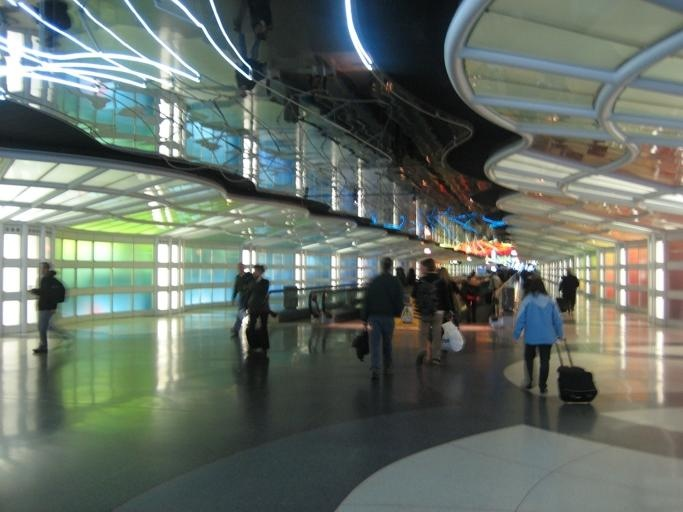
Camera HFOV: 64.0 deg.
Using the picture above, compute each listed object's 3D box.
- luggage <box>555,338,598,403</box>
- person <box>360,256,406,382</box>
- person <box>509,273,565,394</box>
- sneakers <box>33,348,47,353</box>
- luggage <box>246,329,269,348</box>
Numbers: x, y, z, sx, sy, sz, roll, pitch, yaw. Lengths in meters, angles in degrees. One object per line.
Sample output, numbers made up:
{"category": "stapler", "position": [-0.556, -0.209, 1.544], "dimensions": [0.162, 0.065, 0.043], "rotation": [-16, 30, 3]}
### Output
{"category": "luggage", "position": [3.706, 1.709, 8.802], "dimensions": [0.536, 1.223, 0.465], "rotation": [-6, -39, 15]}
{"category": "person", "position": [0.832, 1.154, 10.645], "dimensions": [0.768, 2.259, 1.189], "rotation": [-1, -3, 3]}
{"category": "person", "position": [3.366, 1.303, 9.323], "dimensions": [0.778, 1.955, 0.726], "rotation": [-2, -3, 20]}
{"category": "sneakers", "position": [-7.140, 2.236, 12.945], "dimensions": [0.325, 0.138, 0.117], "rotation": [3, -5, 4]}
{"category": "luggage", "position": [-2.017, 1.976, 13.216], "dimensions": [0.536, 0.523, 0.295], "rotation": [-1, -4, 9]}
